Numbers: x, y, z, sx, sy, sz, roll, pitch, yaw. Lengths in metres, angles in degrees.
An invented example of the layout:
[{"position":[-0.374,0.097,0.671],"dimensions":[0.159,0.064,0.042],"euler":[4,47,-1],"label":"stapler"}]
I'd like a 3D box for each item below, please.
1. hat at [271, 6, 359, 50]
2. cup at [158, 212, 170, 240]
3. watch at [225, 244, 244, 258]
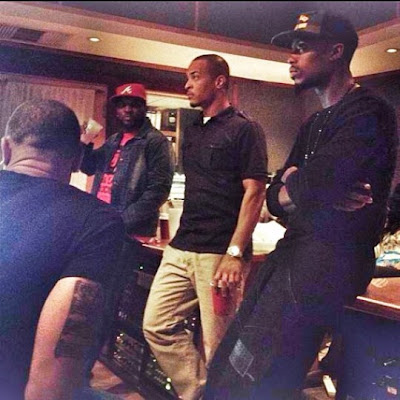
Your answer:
[{"position":[0.336,-0.488,1.091],"dimensions":[0.204,0.076,0.141],"euler":[10,3,3],"label":"hat"},{"position":[-0.228,0.149,2.329],"dimensions":[0.076,0.061,0.249],"euler":[-4,39,4],"label":"cup"},{"position":[0.134,0.198,1.489],"dimensions":[0.059,0.058,0.037],"euler":[-16,22,30],"label":"watch"}]
